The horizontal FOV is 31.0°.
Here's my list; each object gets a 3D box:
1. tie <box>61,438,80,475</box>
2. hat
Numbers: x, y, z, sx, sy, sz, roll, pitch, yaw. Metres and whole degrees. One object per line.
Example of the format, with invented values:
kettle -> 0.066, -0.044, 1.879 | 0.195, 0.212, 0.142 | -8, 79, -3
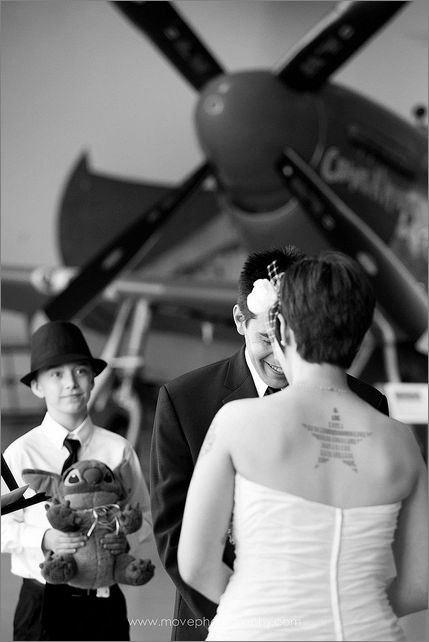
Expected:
tie -> -0.504, 0.467, 2.684 | 0.074, 0.032, 0.105 | 12, 31, -39
hat -> -0.542, 0.088, 2.685 | 0.237, 0.130, 0.261 | -15, -15, -12
